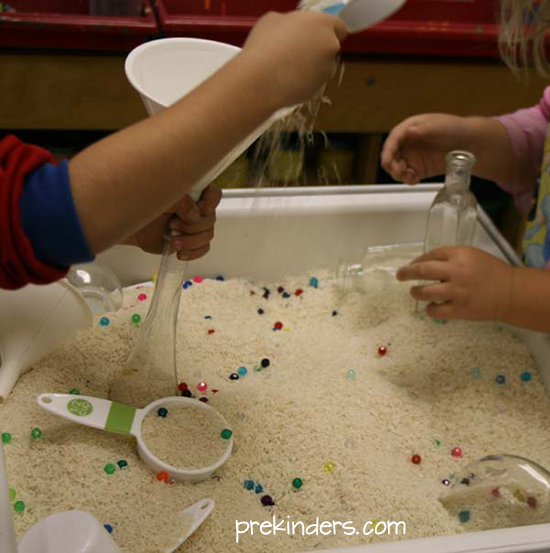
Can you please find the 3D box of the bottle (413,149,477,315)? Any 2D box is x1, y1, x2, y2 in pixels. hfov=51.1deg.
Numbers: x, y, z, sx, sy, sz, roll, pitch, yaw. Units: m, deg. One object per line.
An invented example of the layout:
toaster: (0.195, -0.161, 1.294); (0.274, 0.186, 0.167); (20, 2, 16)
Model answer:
bottle: (0.383, -0.141, 1.230); (0.091, 0.092, 0.304); (8, 55, 13)

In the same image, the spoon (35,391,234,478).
spoon: (-0.218, 0.234, 0.938); (0.293, 0.135, 0.157); (4, 38, 3)
